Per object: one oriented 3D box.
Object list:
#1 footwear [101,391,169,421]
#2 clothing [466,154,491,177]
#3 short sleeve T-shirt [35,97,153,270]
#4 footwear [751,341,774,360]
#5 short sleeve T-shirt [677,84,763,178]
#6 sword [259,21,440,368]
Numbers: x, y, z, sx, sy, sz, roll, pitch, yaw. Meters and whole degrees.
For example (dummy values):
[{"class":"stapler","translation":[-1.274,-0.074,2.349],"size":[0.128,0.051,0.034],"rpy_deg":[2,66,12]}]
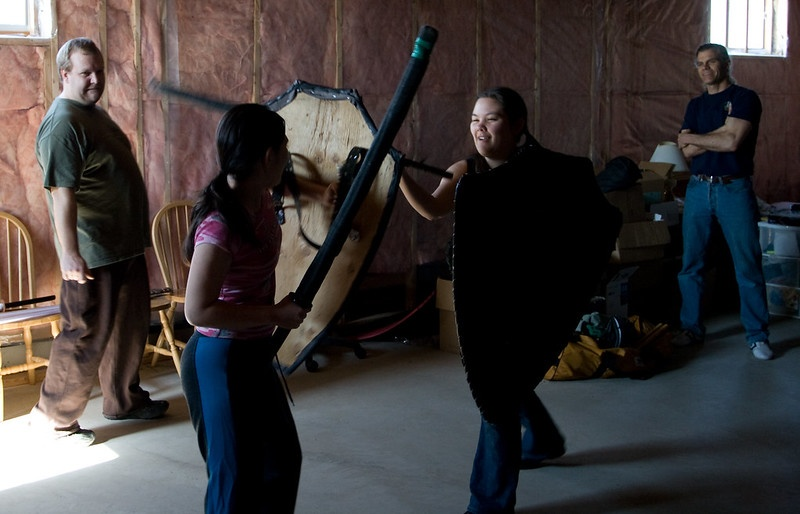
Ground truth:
[{"class":"footwear","translation":[-1.591,0.899,4.051],"size":[0.352,0.147,0.156],"rpy_deg":[-6,8,-20]},{"class":"clothing","translation":[0.359,-0.431,3.073],"size":[0.103,0.050,0.187],"rpy_deg":[0,0,-1]},{"class":"short sleeve T-shirt","translation":[-1.775,-0.509,3.981],"size":[0.507,0.845,0.866],"rpy_deg":[-3,22,-8]},{"class":"footwear","translation":[2.554,0.653,4.757],"size":[0.087,0.067,0.167],"rpy_deg":[-23,13,9]},{"class":"short sleeve T-shirt","translation":[2.295,-0.914,4.845],"size":[0.491,0.655,0.287],"rpy_deg":[3,9,25]},{"class":"sword","translation":[-0.159,-0.203,2.416],"size":[0.367,1.260,0.101],"rpy_deg":[30,16,7]}]
